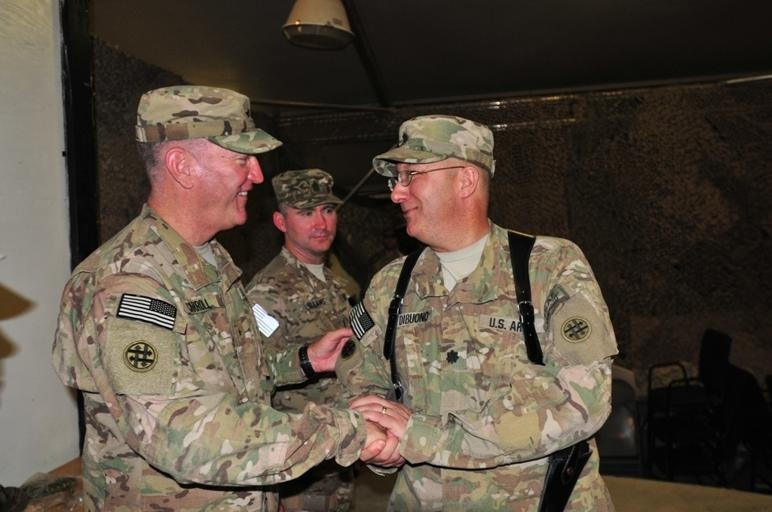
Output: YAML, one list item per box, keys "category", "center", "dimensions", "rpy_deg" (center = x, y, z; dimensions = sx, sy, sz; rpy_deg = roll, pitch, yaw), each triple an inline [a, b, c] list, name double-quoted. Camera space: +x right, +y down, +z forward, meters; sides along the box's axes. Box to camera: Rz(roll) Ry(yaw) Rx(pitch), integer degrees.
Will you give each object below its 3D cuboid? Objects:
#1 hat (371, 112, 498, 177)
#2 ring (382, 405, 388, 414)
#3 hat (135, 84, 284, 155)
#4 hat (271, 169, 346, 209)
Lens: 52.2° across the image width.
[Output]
- category: "hat"
  center: [0.336, -0.713, 5.089]
  dimensions: [0.612, 0.430, 0.274]
  rpy_deg: [4, 78, -5]
- category: "ring"
  center: [-0.005, 0.933, 4.780]
  dimensions: [0.038, 0.010, 0.032]
  rpy_deg: [1, 69, -15]
- category: "hat"
  center: [-1.110, -0.831, 4.846]
  dimensions: [0.744, 0.457, 0.315]
  rpy_deg: [-1, 95, -6]
- category: "hat"
  center: [-0.653, -0.531, 6.398]
  dimensions: [0.455, 0.344, 0.210]
  rpy_deg: [-1, 91, 43]
